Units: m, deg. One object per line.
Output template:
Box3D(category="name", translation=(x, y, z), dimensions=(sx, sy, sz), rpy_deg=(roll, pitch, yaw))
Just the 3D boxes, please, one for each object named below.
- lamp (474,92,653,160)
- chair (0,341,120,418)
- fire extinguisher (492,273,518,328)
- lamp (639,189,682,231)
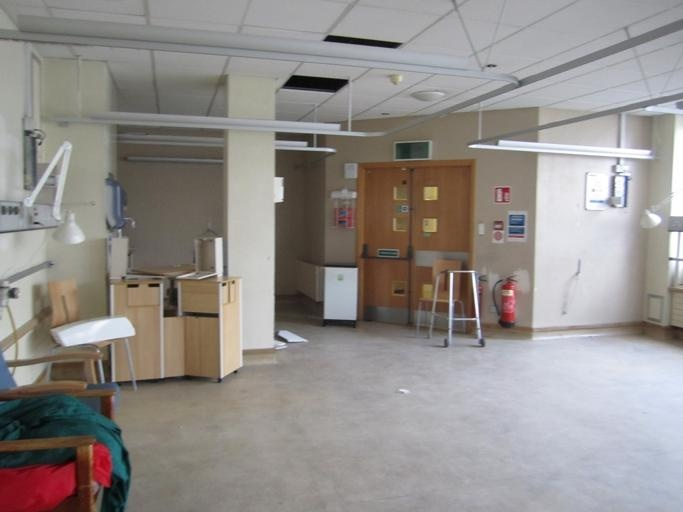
Box3D(category="lamp", translation=(3.044, -1.670, 7.080), dimensions=(2.069, 0.521, 4.045), rpy_deg=(5, 9, 30))
Box3D(category="chair", translation=(-2.103, 0.948, 4.008), dimensions=(0.682, 0.826, 0.575), rpy_deg=(0, 4, -12))
Box3D(category="fire extinguisher", translation=(2.554, 0.720, 8.208), dimensions=(0.383, 0.809, 0.213), rpy_deg=(3, 9, 17))
Box3D(category="lamp", translation=(4.942, -0.695, 8.091), dimensions=(0.447, 0.619, 0.897), rpy_deg=(6, 10, 33))
